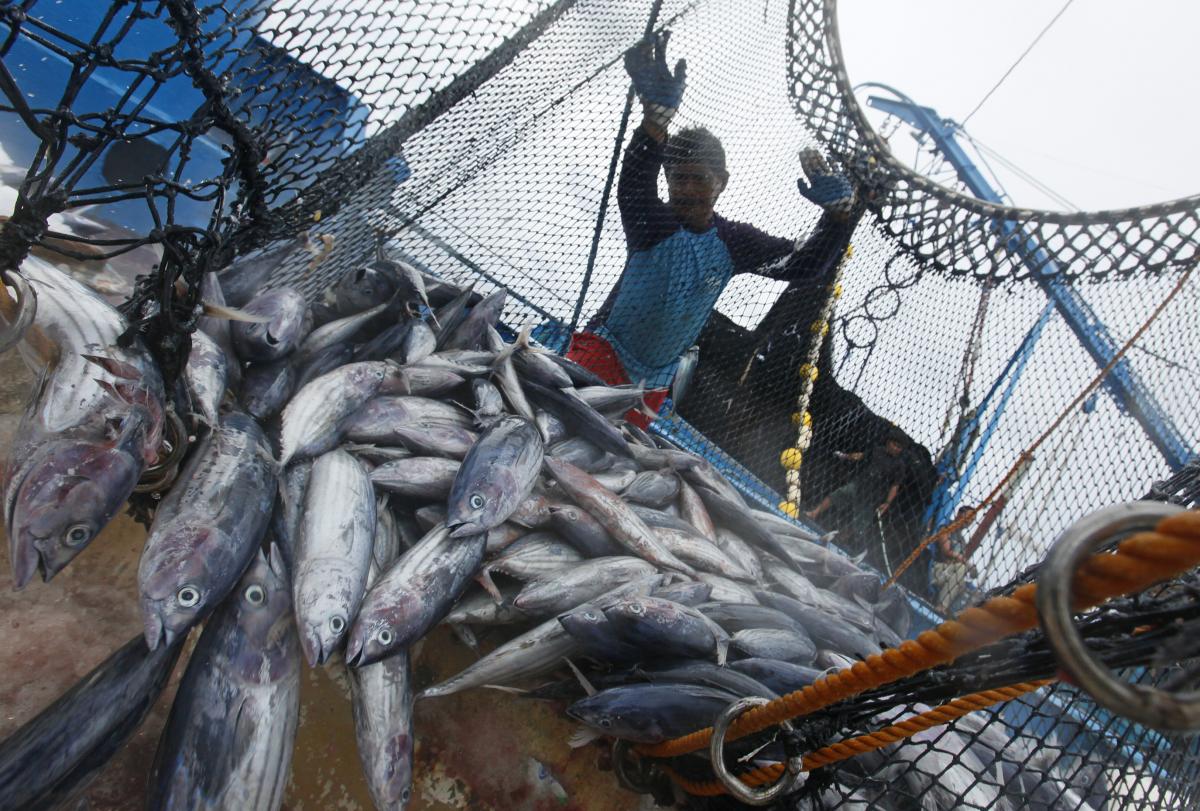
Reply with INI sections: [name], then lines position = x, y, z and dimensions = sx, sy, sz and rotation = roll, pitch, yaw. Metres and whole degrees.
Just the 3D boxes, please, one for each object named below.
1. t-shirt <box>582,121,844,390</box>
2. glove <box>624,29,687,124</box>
[t-shirt]
position = 0.582, -0.774, 5.674
dimensions = 0.846, 1.369, 0.360
rotation = 38, -12, -27
[glove]
position = 0.299, -1.761, 5.578
dimensions = 0.310, 0.488, 0.123
rotation = 18, -15, -11
